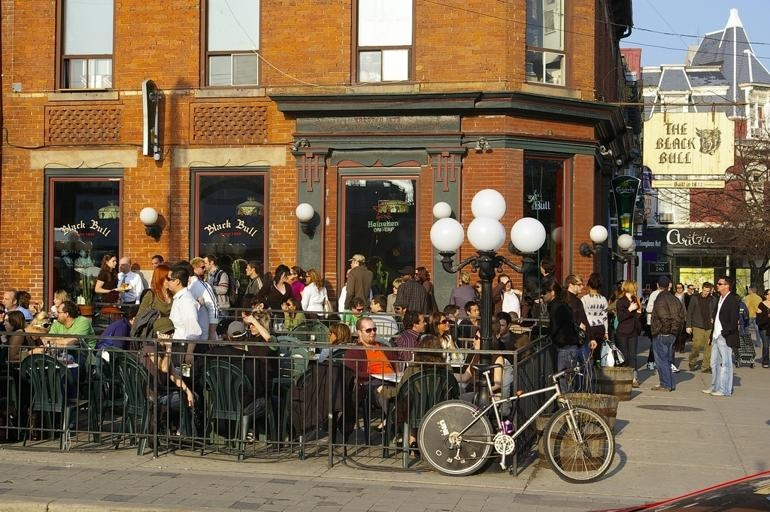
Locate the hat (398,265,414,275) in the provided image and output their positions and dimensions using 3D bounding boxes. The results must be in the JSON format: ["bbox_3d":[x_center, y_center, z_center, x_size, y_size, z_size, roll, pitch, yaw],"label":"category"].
[{"bbox_3d":[0.554,0.366,37.833,0.289,0.153,0.221,12,2,17],"label":"hat"}]

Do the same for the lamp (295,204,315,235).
[{"bbox_3d":[-1.968,-0.940,38.027,0.480,0.815,0.374,-2,-3,-4],"label":"lamp"}]

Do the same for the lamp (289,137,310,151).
[{"bbox_3d":[-2.136,-2.829,38.114,0.367,0.220,0.479,-1,-1,-7],"label":"lamp"}]

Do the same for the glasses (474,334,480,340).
[{"bbox_3d":[2.004,1.737,32.537,0.140,0.141,0.048,-1,-9,28],"label":"glasses"}]

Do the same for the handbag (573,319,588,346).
[{"bbox_3d":[4.541,1.765,34.408,0.176,0.524,0.418,-7,-13,40],"label":"handbag"}]

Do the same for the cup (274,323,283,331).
[{"bbox_3d":[-2.495,1.670,35.664,0.151,0.222,0.230,2,7,0],"label":"cup"}]

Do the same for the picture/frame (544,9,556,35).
[{"bbox_3d":[4.269,-6.025,38.750,0.369,0.662,0.084,0,-4,-31],"label":"picture/frame"}]

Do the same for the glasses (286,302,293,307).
[{"bbox_3d":[-2.227,1.115,35.309,0.098,0.119,0.082,-2,15,17],"label":"glasses"}]

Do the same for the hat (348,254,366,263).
[{"bbox_3d":[-0.698,0.065,37.038,0.276,0.133,0.193,8,6,29],"label":"hat"}]

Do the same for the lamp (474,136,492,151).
[{"bbox_3d":[2.441,-2.773,37.639,0.528,0.448,0.285,0,1,1],"label":"lamp"}]

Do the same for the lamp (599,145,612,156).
[{"bbox_3d":[5.940,-2.853,40.438,0.274,0.159,0.381,19,-14,11],"label":"lamp"}]

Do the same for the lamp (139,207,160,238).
[{"bbox_3d":[-5.994,-0.870,38.493,0.503,0.787,0.416,-2,-3,-5],"label":"lamp"}]
